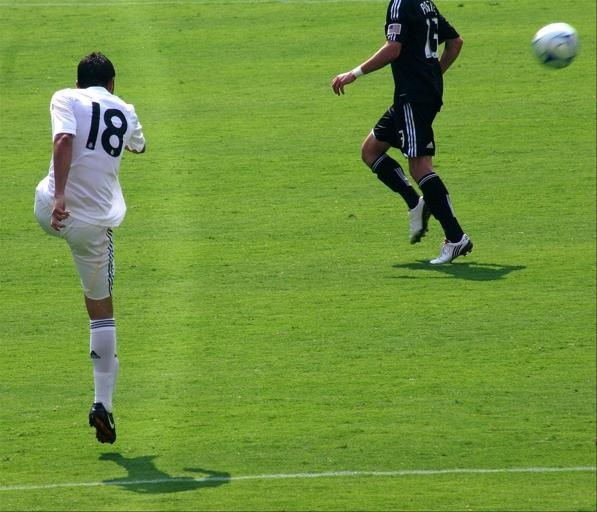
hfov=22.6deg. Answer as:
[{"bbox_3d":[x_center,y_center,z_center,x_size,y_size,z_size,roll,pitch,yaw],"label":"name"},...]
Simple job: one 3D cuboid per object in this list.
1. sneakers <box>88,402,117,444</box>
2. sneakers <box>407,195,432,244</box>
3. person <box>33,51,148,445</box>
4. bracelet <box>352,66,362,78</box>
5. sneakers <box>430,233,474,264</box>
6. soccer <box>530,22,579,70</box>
[{"bbox_3d":[-1.108,0.983,8.697,0.116,0.271,0.150,-10,31,24],"label":"sneakers"},{"bbox_3d":[0.917,-0.258,11.334,0.212,0.357,0.135,20,39,22],"label":"sneakers"},{"bbox_3d":[-1.235,-0.161,8.954,0.538,2.061,0.829,1,12,-2],"label":"person"},{"bbox_3d":[0.445,-1.336,10.948,0.095,0.076,0.106,-5,-23,-5],"label":"bracelet"},{"bbox_3d":[1.158,-0.049,11.058,0.309,0.245,0.198,3,12,12],"label":"sneakers"},{"bbox_3d":[2.174,-1.746,12.457,0.442,0.344,0.423,6,17,33],"label":"soccer"}]
